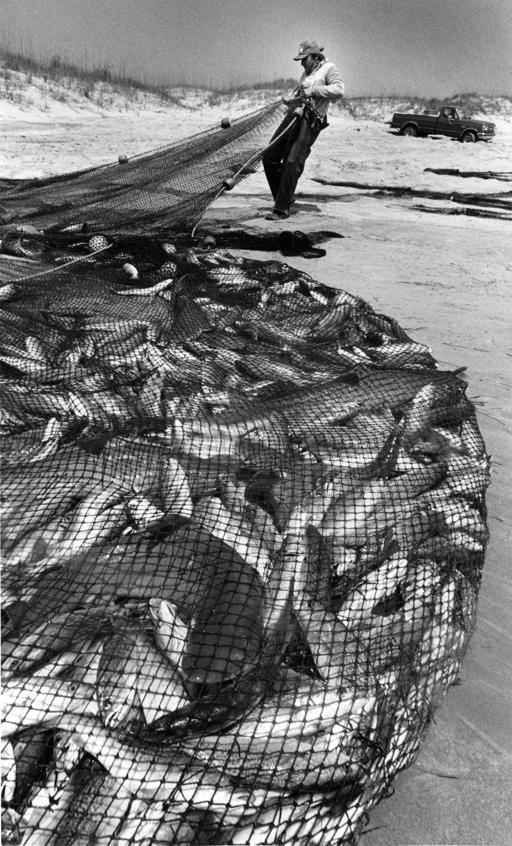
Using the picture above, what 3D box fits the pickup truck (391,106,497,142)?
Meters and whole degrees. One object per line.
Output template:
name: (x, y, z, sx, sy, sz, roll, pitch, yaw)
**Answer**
pickup truck: (4.550, -7.185, 16.186, 2.213, 0.902, 1.147, 17, 40, 18)
